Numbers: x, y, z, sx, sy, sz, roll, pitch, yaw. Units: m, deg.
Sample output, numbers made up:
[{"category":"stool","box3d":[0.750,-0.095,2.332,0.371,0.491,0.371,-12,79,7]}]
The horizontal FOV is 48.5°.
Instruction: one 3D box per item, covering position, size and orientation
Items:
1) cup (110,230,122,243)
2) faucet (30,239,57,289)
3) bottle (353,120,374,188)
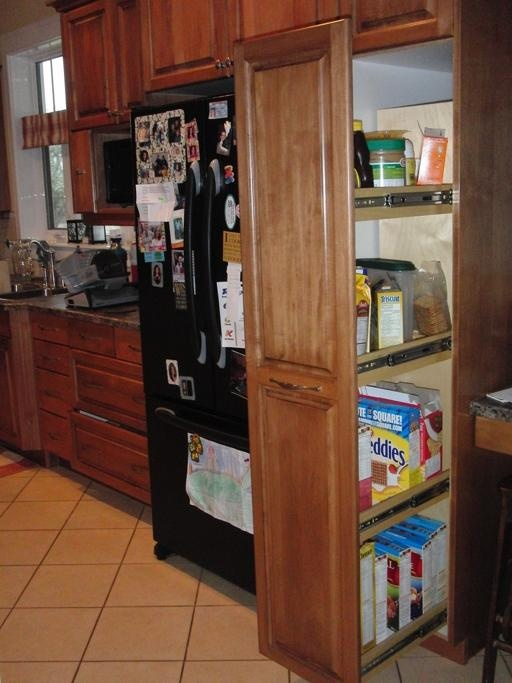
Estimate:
[{"category":"cup","box3d":[-0.895,-0.675,3.647,0.088,0.087,0.055,-2,-5,32]},{"category":"faucet","box3d":[-1.523,-0.558,4.102,0.152,0.356,0.577,-6,9,-20]},{"category":"bottle","box3d":[0.253,-0.431,1.338,0.040,0.138,0.124,-1,9,12]}]
